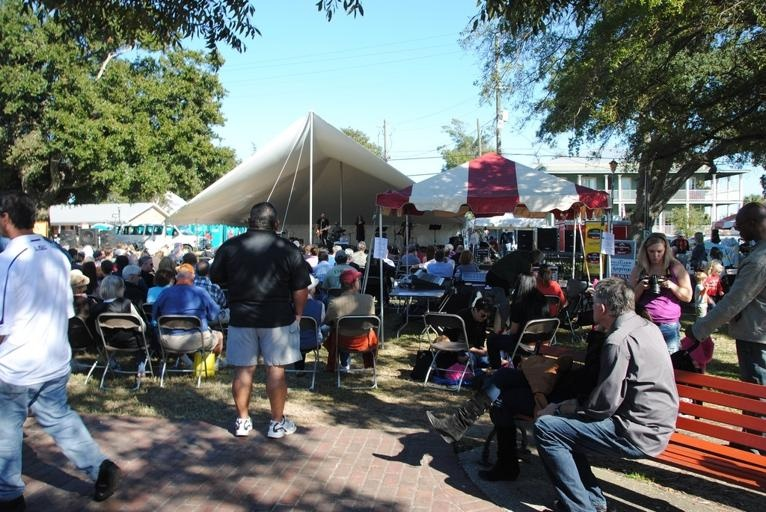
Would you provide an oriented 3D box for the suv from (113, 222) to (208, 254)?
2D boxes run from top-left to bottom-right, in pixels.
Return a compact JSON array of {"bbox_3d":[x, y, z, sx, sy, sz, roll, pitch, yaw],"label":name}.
[{"bbox_3d":[-9.870,-0.808,28.180,3.670,1.841,2.012,0,4,11],"label":"suv"}]

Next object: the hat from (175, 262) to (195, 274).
[{"bbox_3d":[-3.155,0.185,10.206,0.144,0.165,0.196,0,14,14],"label":"hat"}]

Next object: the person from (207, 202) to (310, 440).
[{"bbox_3d":[-1.353,0.871,7.188,1.028,2.290,0.455,-1,11,-8],"label":"person"}]

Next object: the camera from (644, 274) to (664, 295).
[{"bbox_3d":[3.147,0.325,7.411,0.165,0.197,0.110,-1,2,4],"label":"camera"}]

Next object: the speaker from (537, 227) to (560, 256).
[{"bbox_3d":[5.904,-0.516,22.946,1.054,1.194,1.145,0,-5,14],"label":"speaker"}]

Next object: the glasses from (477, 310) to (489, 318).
[{"bbox_3d":[1.415,0.826,9.201,0.091,0.126,0.114,4,-4,-34],"label":"glasses"}]

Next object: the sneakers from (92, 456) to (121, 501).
[{"bbox_3d":[-2.586,2.090,6.055,0.166,0.466,0.193,13,-1,-30],"label":"sneakers"}]

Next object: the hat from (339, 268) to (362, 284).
[{"bbox_3d":[-0.489,0.288,9.367,0.278,0.230,0.304,0,11,-5],"label":"hat"}]

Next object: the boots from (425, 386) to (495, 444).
[{"bbox_3d":[0.889,1.536,6.732,0.250,0.524,0.731,35,-14,-21],"label":"boots"}]

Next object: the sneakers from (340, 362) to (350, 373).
[{"bbox_3d":[-0.568,1.661,9.545,0.166,0.116,0.101,-1,2,22],"label":"sneakers"}]
